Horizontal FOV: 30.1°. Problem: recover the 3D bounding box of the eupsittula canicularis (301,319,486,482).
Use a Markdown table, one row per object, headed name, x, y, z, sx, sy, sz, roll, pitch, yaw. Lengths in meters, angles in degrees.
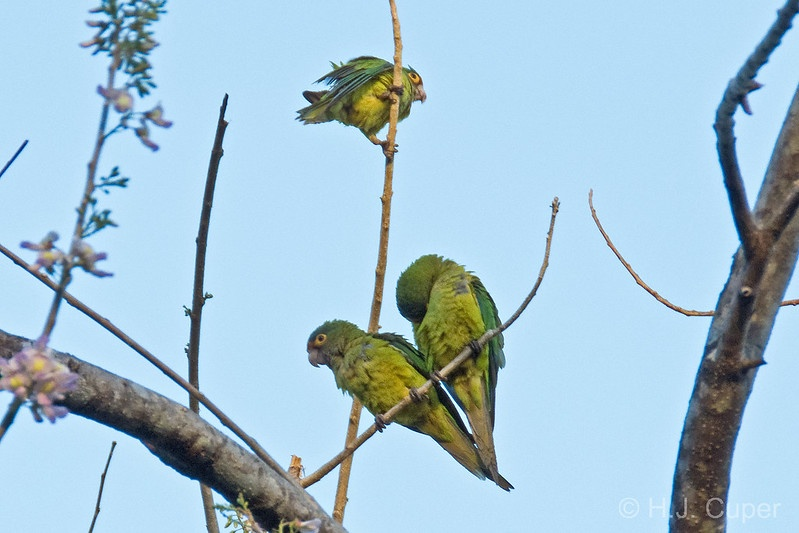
| name | x | y | z | sx | sy | sz | roll | pitch | yaw |
| --- | --- | --- | --- | --- | --- | --- | --- | --- | --- |
| eupsittula canicularis | 0.106 | 0.679 | 8.307 | 1.059 | 0.488 | 0.392 | 30 | -55 | 10 |
